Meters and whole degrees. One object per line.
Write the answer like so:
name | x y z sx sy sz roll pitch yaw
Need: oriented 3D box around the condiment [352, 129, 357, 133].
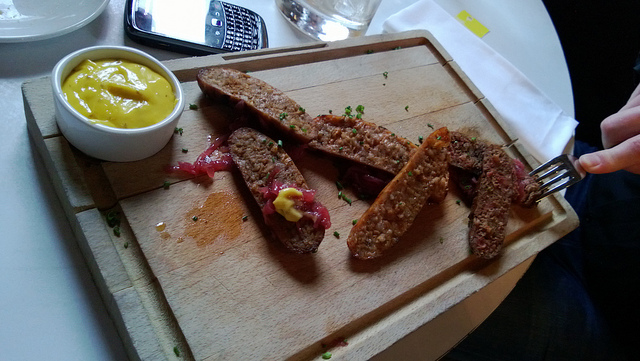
condiment | 0.268 -0.389 3.311 0.024 0.012 0.030 2 36 -3
